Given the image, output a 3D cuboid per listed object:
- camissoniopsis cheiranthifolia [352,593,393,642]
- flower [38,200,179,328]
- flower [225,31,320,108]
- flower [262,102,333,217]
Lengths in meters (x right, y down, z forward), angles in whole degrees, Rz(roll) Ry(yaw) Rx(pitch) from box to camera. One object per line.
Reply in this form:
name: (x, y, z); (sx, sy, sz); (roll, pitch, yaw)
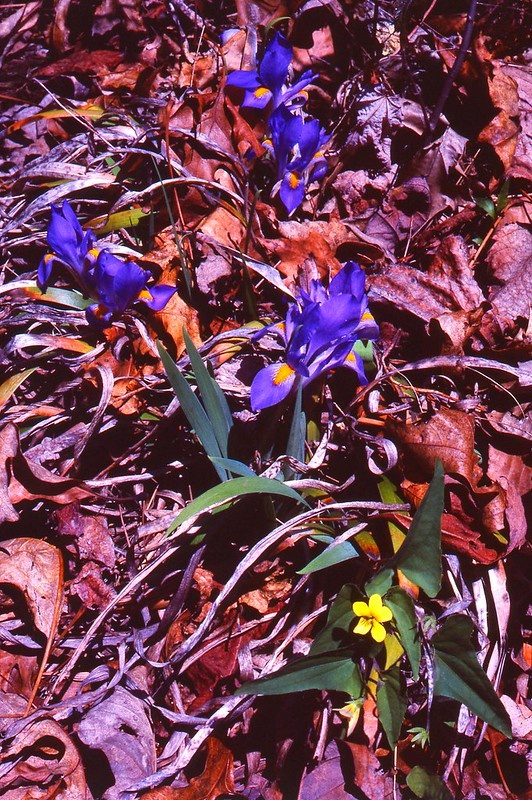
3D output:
camissoniopsis cheiranthifolia: (0.246, 0.526, 1.671); (0.093, 0.095, 0.099); (17, 55, 1)
flower: (-0.475, -0.388, 2.059); (0.401, 0.230, 0.339); (33, 33, 10)
flower: (0.003, -1.087, 2.236); (0.171, 0.110, 0.231); (-21, 23, -17)
flower: (0.096, -0.772, 2.243); (0.285, 0.129, 0.305); (6, 75, -22)
